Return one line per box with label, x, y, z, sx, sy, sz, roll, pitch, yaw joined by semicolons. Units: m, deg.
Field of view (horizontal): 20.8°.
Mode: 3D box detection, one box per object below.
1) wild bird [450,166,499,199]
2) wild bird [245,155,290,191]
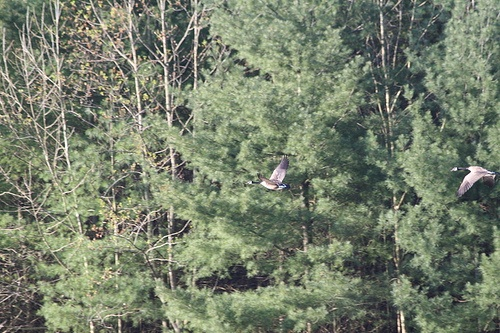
wild bird;7.902;0.406;48.088;1.247;0.488;1.724;-16;5;46
wild bird;0.593;0.407;48.036;1.362;0.584;1.616;33;39;28
